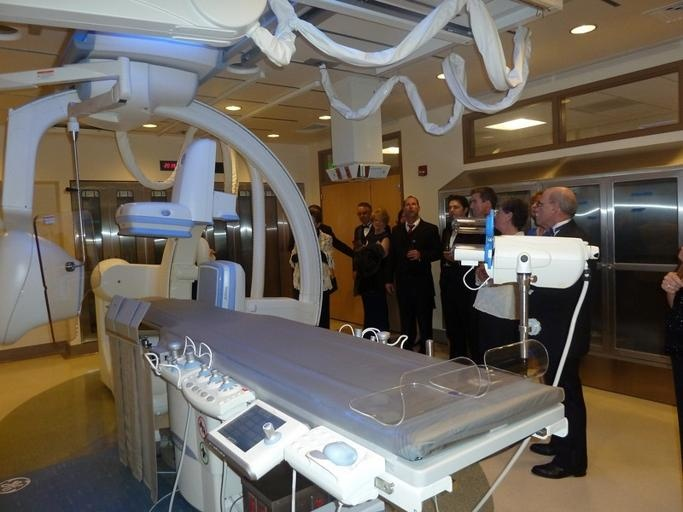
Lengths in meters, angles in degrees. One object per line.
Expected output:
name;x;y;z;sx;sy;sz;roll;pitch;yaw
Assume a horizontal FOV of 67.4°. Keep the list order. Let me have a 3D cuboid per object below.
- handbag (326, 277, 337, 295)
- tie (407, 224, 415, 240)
handbag;-0.099;0.342;5.960;0.121;0.178;0.183;0;18;-1
tie;0.782;-0.280;5.805;0.035;0.136;0.131;11;-12;-27
